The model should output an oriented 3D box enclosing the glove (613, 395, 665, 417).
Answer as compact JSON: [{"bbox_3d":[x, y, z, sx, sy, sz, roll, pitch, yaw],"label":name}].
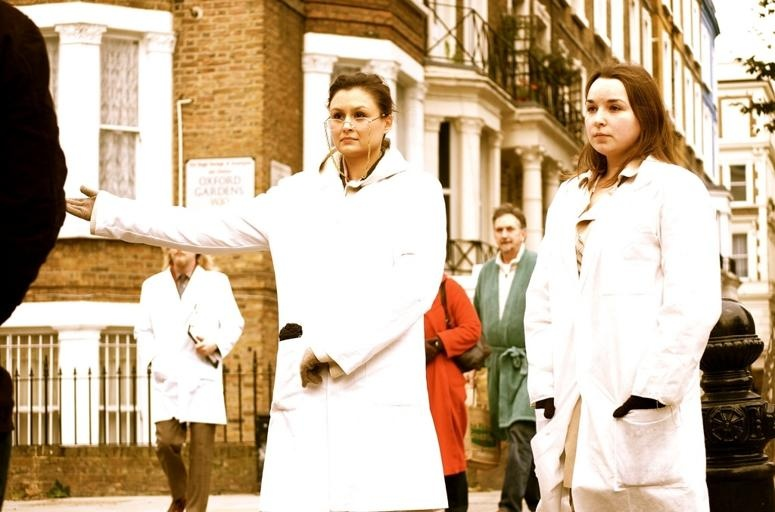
[{"bbox_3d":[2.094,1.247,13.708,0.476,0.193,0.154,-5,6,1],"label":"glove"}]

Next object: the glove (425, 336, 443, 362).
[{"bbox_3d":[0.446,0.905,15.940,0.204,0.222,0.174,-6,-1,30],"label":"glove"}]

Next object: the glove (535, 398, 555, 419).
[{"bbox_3d":[1.383,1.311,14.083,0.178,0.171,0.142,1,-7,20],"label":"glove"}]
